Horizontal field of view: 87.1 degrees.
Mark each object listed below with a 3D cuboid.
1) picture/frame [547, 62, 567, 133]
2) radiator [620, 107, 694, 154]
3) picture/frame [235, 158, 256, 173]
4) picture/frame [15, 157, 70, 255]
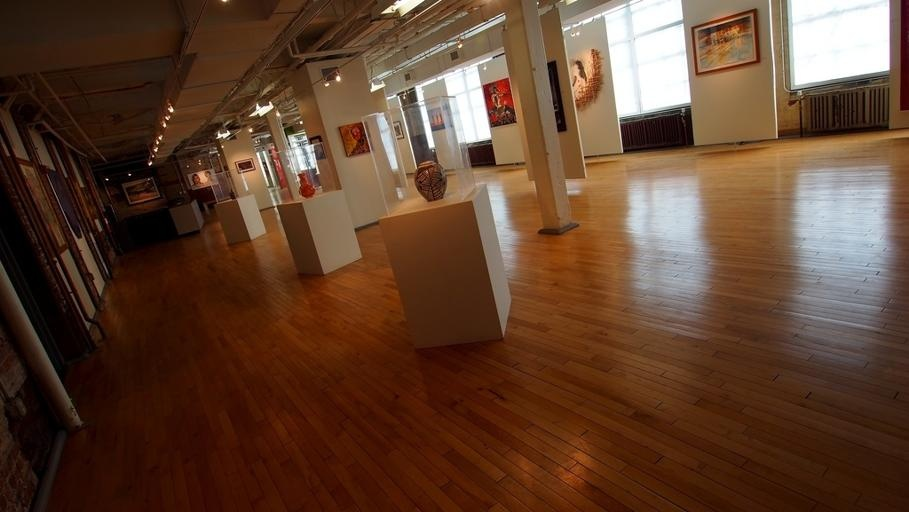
[{"bbox_3d":[2.472,-3.754,11.317,0.234,1.640,0.367,-8,15,11],"label":"picture/frame"},{"bbox_3d":[6.288,-3.856,14.741,2.052,1.109,0.299,5,21,45],"label":"radiator"},{"bbox_3d":[-9.875,-4.254,22.448,0.079,0.507,0.803,11,17,34],"label":"picture/frame"},{"bbox_3d":[-8.726,-1.084,10.148,0.270,2.003,2.459,-22,19,-36],"label":"picture/frame"}]
